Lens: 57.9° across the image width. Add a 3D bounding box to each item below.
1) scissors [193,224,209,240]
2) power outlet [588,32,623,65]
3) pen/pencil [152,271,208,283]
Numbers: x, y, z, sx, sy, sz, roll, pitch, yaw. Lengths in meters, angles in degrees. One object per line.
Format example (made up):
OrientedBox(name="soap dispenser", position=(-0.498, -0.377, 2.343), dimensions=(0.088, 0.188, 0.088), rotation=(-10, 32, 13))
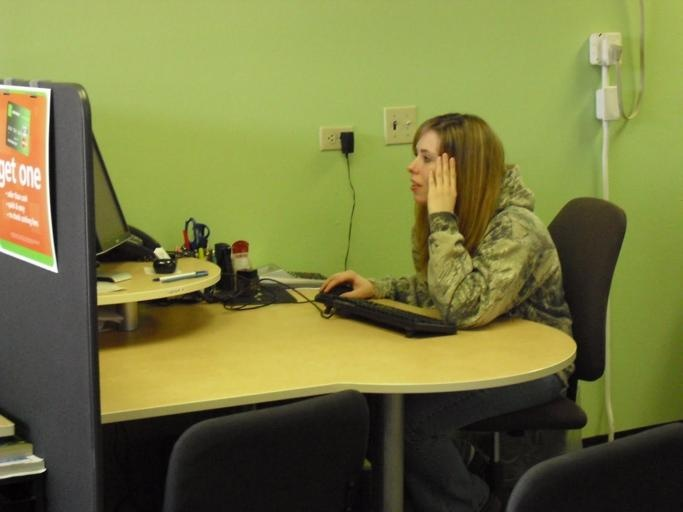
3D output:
OrientedBox(name="scissors", position=(-0.523, -0.092, 2.311), dimensions=(0.072, 0.078, 0.046), rotation=(0, 3, 8))
OrientedBox(name="power outlet", position=(1.157, -0.891, 2.681), dimensions=(0.131, 0.129, 0.100), rotation=(-10, 17, -36))
OrientedBox(name="pen/pencil", position=(-0.464, 0.060, 1.761), dimensions=(0.114, 0.014, 0.017), rotation=(-6, 44, -38))
